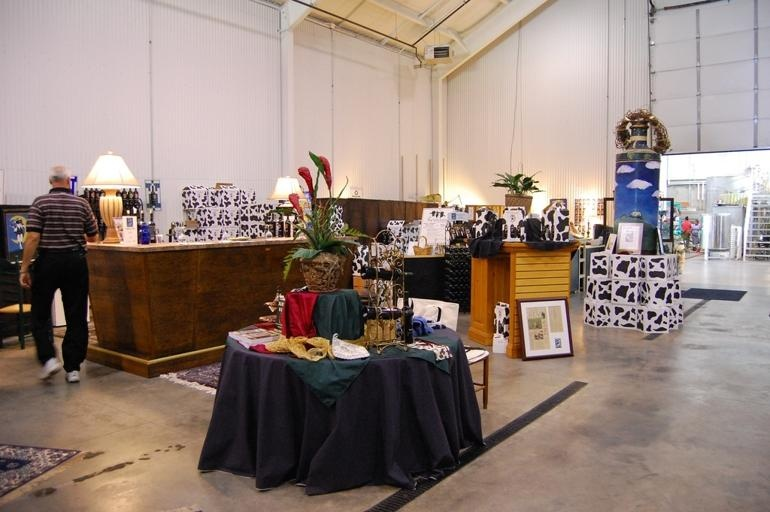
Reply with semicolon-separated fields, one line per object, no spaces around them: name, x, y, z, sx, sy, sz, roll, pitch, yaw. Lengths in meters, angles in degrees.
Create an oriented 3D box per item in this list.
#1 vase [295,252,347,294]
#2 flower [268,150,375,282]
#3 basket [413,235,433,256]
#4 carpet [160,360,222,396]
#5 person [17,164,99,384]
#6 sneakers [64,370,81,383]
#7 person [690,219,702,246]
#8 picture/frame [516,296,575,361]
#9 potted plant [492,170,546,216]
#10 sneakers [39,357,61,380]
vase;-0.567;0.171;4.595;0.361;0.289;0.388;2;-11;-6
flower;-0.467;-0.275;4.583;0.717;1.085;0.786;-22;13;-20
basket;0.695;-0.177;9.748;0.341;0.366;0.261;0;-2;-5
carpet;-2.161;1.438;6.234;0.905;0.096;0.522;1;6;31
person;-3.724;0.222;6.113;0.785;2.479;0.372;-5;7;-31
sneakers;-3.611;1.404;6.134;0.087;0.093;0.208;1;-5;-22
person;11.827;-0.865;20.187;0.332;1.108;1.133;3;7;41
picture/frame;2.043;0.956;6.864;0.756;0.802;0.076;-1;-1;-32
potted plant;2.268;-1.010;8.890;0.641;0.670;0.667;-10;8;-29
sneakers;-3.864;1.315;6.190;0.380;0.178;0.141;-38;-35;20
